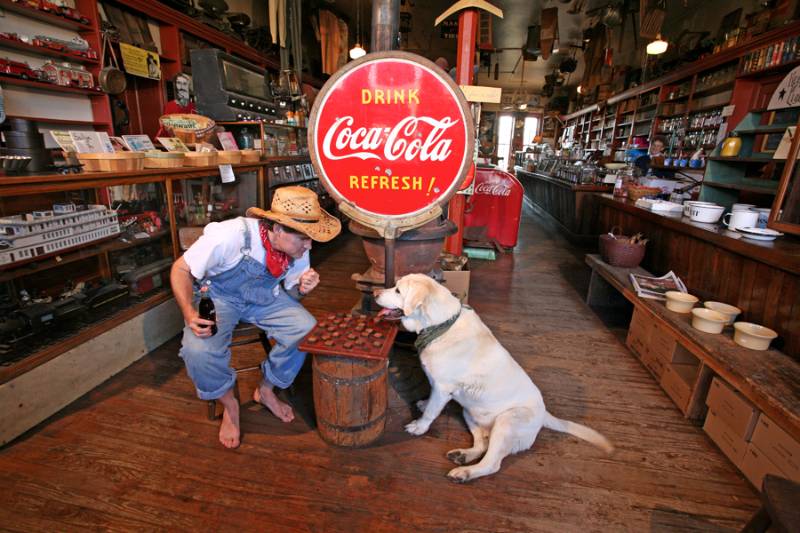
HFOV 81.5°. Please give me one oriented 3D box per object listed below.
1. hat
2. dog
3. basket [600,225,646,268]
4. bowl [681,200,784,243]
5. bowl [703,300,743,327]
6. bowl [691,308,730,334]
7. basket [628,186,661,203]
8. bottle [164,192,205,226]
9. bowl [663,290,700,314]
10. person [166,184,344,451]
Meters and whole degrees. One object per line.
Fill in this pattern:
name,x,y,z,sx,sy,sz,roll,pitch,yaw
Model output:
hat,-0.724,-0.389,3.329,0.567,0.217,0.429,19,12,-19
dog,0.463,0.695,3.917,2.043,1.460,1.596,4,29,-3
basket,2.443,-0.220,5.006,0.572,0.337,0.465,0,19,-2
bowl,3.093,-0.463,4.300,0.459,0.199,1.092,-1,18,-5
bowl,2.673,0.360,3.821,0.214,0.073,0.209,-1,19,0
bowl,2.475,0.416,3.697,0.231,0.094,0.216,-1,17,0
basket,2.998,-0.887,5.697,0.326,0.105,0.223,0,12,6
bottle,-2.179,-0.591,4.777,0.195,0.270,0.302,15,21,32
bowl,2.391,0.267,3.965,0.220,0.095,0.210,1,13,0
person,-1.130,0.354,3.629,1.250,1.961,1.231,1,29,-31
